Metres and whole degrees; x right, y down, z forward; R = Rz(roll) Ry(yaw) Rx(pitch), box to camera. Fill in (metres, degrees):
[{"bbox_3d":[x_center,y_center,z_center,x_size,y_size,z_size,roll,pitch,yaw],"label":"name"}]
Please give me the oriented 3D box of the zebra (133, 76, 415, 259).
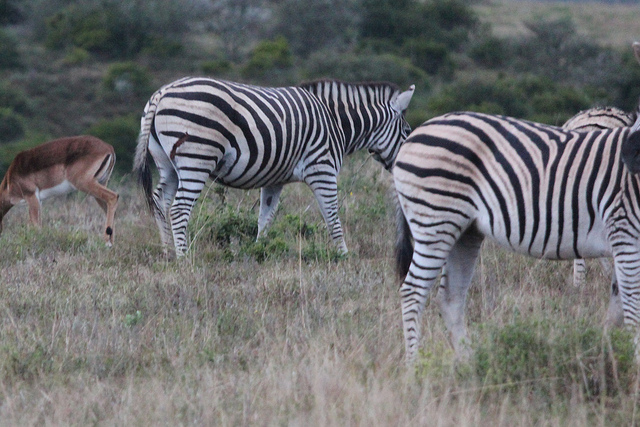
[{"bbox_3d":[-0.732,-0.871,19.083,5.132,3.544,1.665,2,11,-18],"label":"zebra"}]
